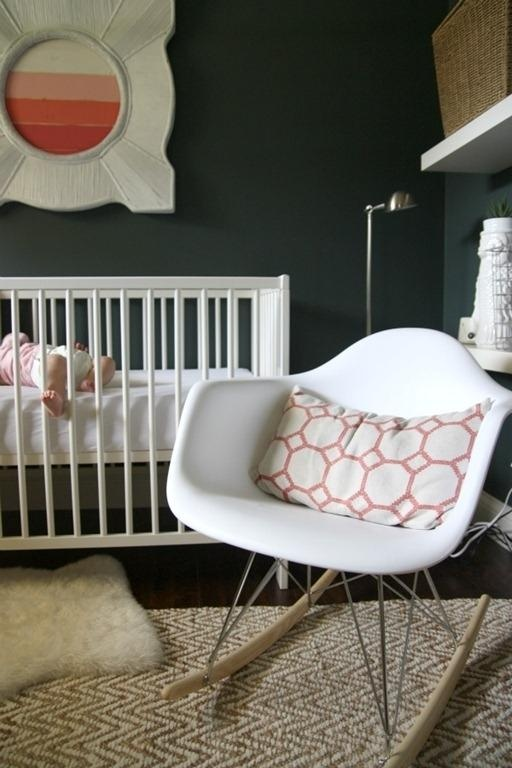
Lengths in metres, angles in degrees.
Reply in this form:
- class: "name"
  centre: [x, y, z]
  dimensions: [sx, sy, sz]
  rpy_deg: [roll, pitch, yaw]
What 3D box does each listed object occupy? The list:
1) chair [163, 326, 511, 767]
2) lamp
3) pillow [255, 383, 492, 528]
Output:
- class: "chair"
  centre: [0.152, 0.272, 1.525]
  dimensions: [0.666, 0.722, 0.806]
  rpy_deg: [8, 19, 33]
- class: "lamp"
  centre: [0.474, -0.429, 2.544]
  dimensions: [0.194, 0.541, 0.740]
  rpy_deg: [3, 11, 12]
- class: "pillow"
  centre: [0.206, 0.129, 1.387]
  dimensions: [0.460, 0.231, 0.209]
  rpy_deg: [10, 15, 40]
